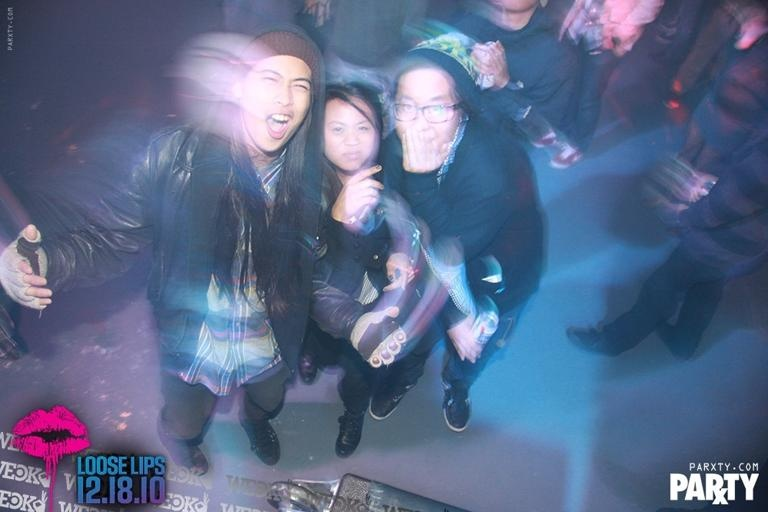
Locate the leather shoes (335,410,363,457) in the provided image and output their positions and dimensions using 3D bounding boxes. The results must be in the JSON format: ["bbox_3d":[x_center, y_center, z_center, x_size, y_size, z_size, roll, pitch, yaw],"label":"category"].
[{"bbox_3d":[-0.253,1.312,4.391,0.127,0.415,0.163,9,-6,-3],"label":"leather shoes"}]

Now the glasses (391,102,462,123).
[{"bbox_3d":[0.302,-1.022,4.258,0.466,0.140,0.069,1,15,3],"label":"glasses"}]

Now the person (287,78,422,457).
[{"bbox_3d":[-0.201,0.026,4.449,0.984,2.543,1.040,-12,24,-35],"label":"person"}]

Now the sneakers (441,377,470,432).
[{"bbox_3d":[0.541,1.136,4.451,0.154,0.431,0.168,-5,2,4],"label":"sneakers"}]

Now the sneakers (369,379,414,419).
[{"bbox_3d":[0.024,1.086,4.500,0.407,0.149,0.160,-39,1,-4],"label":"sneakers"}]
